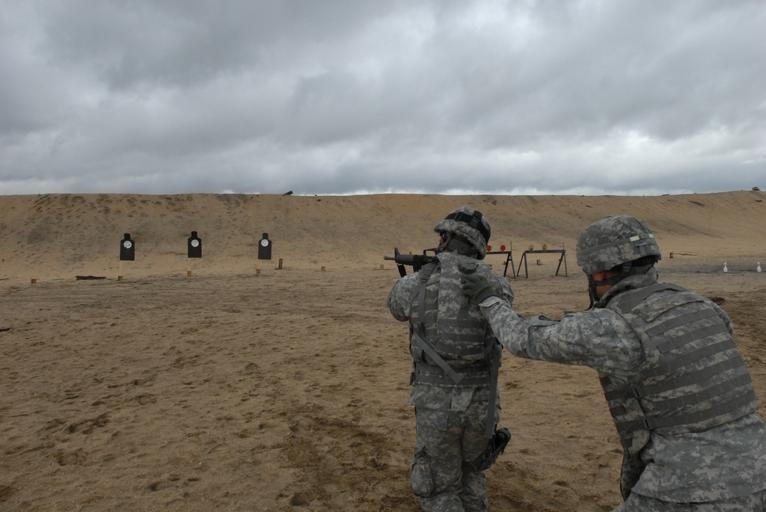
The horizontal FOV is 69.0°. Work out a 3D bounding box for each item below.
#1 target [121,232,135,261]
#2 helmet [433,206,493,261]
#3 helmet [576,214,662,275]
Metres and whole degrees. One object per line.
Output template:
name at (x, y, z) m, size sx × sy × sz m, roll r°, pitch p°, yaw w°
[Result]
target at (-10.829, -0.398, 23.592) m, size 0.539 × 1.078 × 1.283 m, roll -4°, pitch 1°, yaw -25°
helmet at (0.809, -0.238, 5.489) m, size 0.515 × 0.425 × 0.540 m, roll 23°, pitch -2°, yaw 22°
helmet at (1.917, -0.079, 4.815) m, size 0.525 × 0.477 × 0.649 m, roll 7°, pitch -9°, yaw -27°
